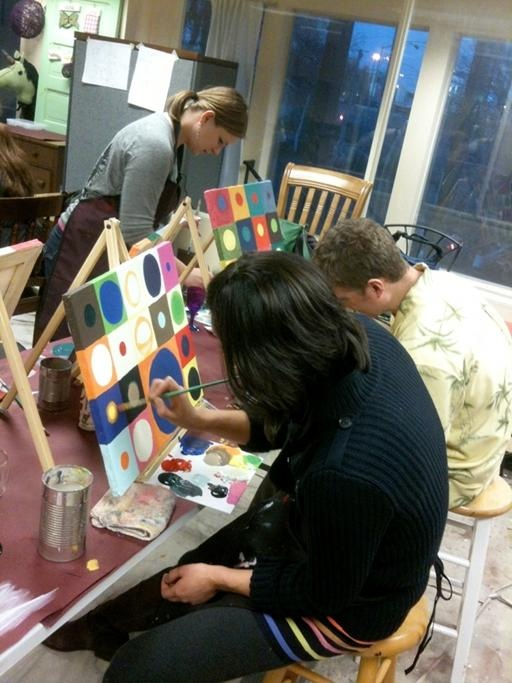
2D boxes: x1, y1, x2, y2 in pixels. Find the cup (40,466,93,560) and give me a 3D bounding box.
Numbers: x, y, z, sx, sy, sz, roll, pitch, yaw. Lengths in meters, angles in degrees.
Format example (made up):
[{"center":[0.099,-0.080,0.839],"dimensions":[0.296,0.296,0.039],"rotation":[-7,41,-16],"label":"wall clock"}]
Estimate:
[{"center":[-0.260,0.234,0.719],"dimensions":[0.069,0.133,0.083],"rotation":[7,20,-20],"label":"cup"}]
